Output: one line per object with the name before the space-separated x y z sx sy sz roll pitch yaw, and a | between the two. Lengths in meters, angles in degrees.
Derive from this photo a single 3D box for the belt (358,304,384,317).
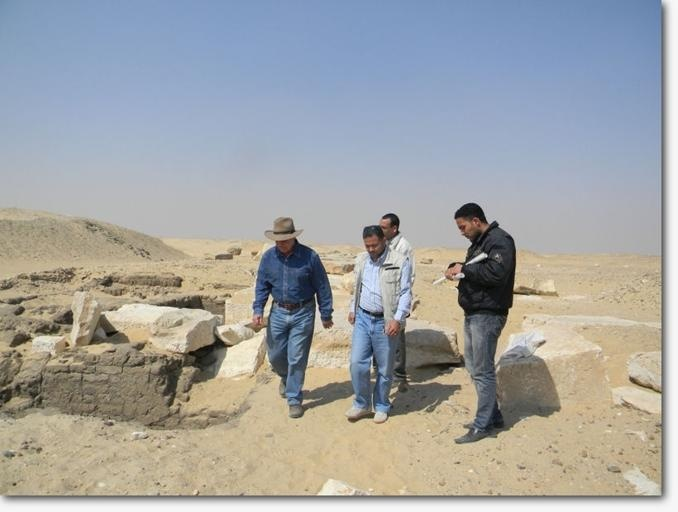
belt | 0.344 0.586 4.881 0.304 0.146 0.069 4 5 41

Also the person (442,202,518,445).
person | 1.386 0.669 4.396 0.621 2.380 0.345 3 4 18

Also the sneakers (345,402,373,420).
sneakers | 0.262 1.786 5.142 0.382 0.149 0.142 3 -5 -31

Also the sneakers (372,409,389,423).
sneakers | 0.474 1.794 4.987 0.137 0.095 0.245 -1 -10 4

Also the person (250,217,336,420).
person | -0.580 0.725 5.272 0.964 2.337 0.640 2 4 7

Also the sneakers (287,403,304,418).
sneakers | -0.517 1.825 5.249 0.159 0.091 0.251 2 -9 -5

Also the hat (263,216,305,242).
hat | -0.550 -0.261 4.428 0.471 0.174 0.465 -1 11 1

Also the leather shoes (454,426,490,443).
leather shoes | 1.406 1.779 4.462 0.447 0.144 0.135 -3 1 -2

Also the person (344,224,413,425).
person | 0.429 0.775 4.927 0.753 2.220 0.458 3 4 20
